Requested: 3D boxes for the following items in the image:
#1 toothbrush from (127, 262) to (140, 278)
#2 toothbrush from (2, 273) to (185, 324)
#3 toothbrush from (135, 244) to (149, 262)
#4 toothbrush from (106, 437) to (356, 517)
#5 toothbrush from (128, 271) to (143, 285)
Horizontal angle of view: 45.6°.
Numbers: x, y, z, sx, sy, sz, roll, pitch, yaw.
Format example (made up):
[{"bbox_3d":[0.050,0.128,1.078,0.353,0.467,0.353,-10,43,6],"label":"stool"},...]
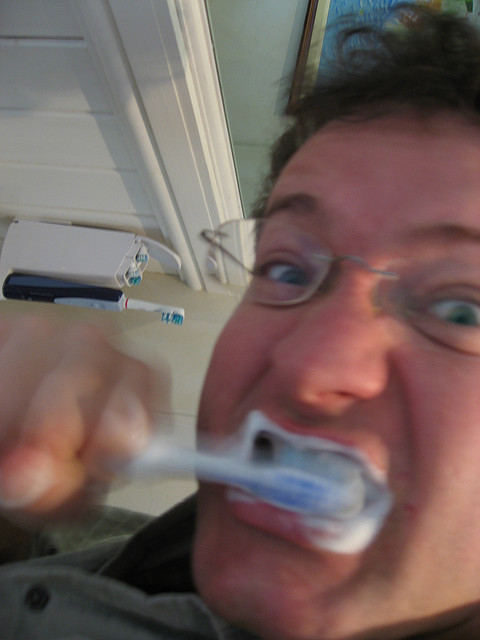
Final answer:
[{"bbox_3d":[-0.164,-0.076,0.882,0.024,0.009,0.028,0,69,-1],"label":"toothbrush"},{"bbox_3d":[-0.176,-0.025,0.686,0.236,0.031,0.031,9,32,15],"label":"toothbrush"},{"bbox_3d":[-0.170,-0.114,0.991,0.021,0.011,0.025,2,67,37],"label":"toothbrush"},{"bbox_3d":[-0.005,0.090,0.359,0.175,0.036,0.041,4,102,32],"label":"toothbrush"},{"bbox_3d":[-0.150,-0.057,0.825,0.019,0.007,0.023,-3,61,25],"label":"toothbrush"}]
